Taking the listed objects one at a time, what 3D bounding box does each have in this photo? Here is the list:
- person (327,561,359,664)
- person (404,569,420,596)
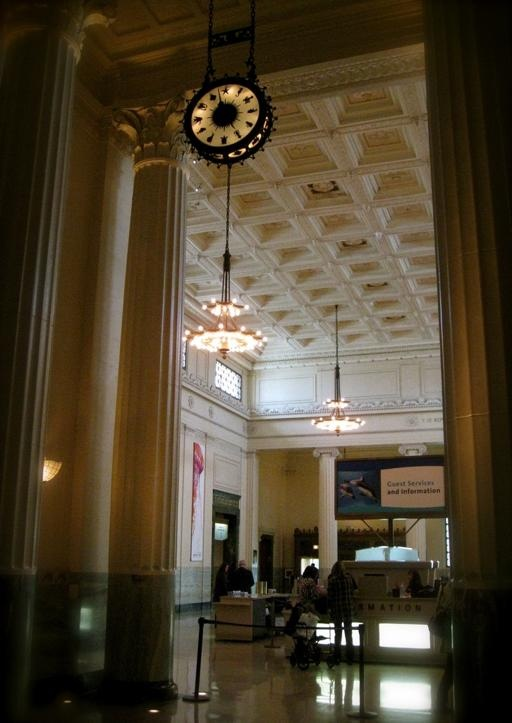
[{"bbox_3d":[1.149,3.363,8.544,0.370,1.308,0.616,0,-16,10],"label":"person"},{"bbox_3d":[2.328,3.256,9.366,0.238,0.361,0.813,-1,-16,14],"label":"person"}]
